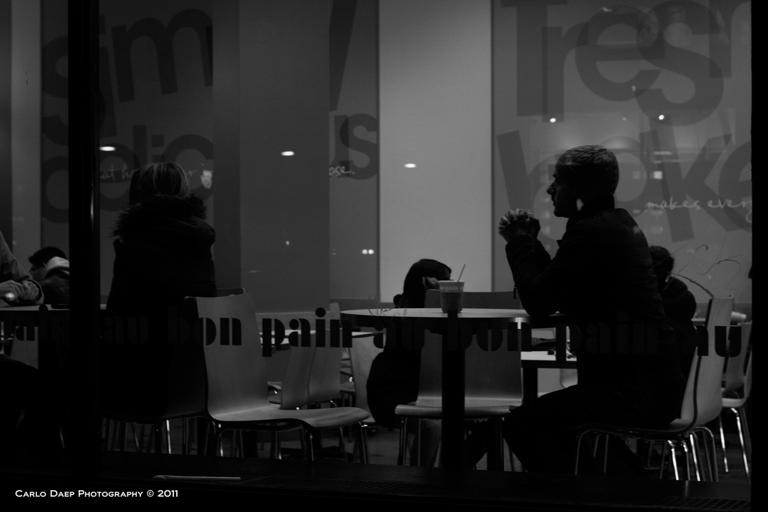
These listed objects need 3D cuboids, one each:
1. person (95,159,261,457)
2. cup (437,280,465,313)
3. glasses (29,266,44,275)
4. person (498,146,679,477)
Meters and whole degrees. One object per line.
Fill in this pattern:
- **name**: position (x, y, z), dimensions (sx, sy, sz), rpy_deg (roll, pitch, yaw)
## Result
- **person**: position (-1.013, 0.164, 3.867), dimensions (0.517, 1.121, 0.508), rpy_deg (4, 11, 4)
- **cup**: position (0.297, 0.172, 3.446), dimensions (0.125, 0.120, 0.117), rpy_deg (2, 2, 0)
- **glasses**: position (-1.550, 0.064, 3.730), dimensions (0.033, 0.032, 0.040), rpy_deg (-1, -18, -5)
- **person**: position (0.934, 0.426, 3.636), dimensions (0.836, 1.721, 0.603), rpy_deg (1, 5, 12)
